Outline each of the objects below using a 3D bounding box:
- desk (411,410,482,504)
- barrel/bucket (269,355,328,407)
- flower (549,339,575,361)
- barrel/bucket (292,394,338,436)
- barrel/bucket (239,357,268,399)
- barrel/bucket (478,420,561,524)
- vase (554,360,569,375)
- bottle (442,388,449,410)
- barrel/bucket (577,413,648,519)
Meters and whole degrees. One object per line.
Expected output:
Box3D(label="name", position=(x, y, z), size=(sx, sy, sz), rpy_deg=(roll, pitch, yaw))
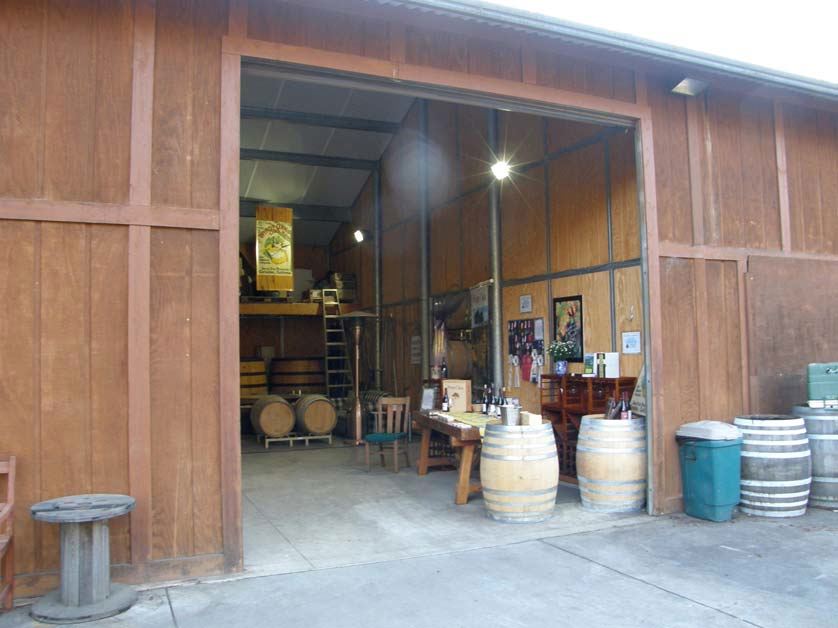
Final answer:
Box3D(label="desk", position=(0.345, 1.567, 8.285), size=(0.718, 0.834, 2.048), rpy_deg=(-1, 1, -3))
Box3D(label="barrel/bucket", position=(-2.385, 1.317, 14.321), size=(0.868, 0.834, 0.890), rpy_deg=(-1, -7, 0))
Box3D(label="flower", position=(1.771, 0.451, 8.753), size=(0.277, 0.230, 0.347), rpy_deg=(0, 1, 31))
Box3D(label="barrel/bucket", position=(-1.676, 1.632, 11.762), size=(0.604, 0.641, 0.861), rpy_deg=(9, -7, -15))
Box3D(label="barrel/bucket", position=(-3.208, 1.260, 13.898), size=(0.608, 0.632, 0.613), rpy_deg=(-1, -2, 0))
Box3D(label="barrel/bucket", position=(0.894, 1.517, 6.965), size=(0.815, 0.871, 0.847), rpy_deg=(-1, -2, 0))
Box3D(label="vase", position=(1.712, 0.638, 8.612), size=(0.135, 0.187, 0.185), rpy_deg=(-2, 4, 6))
Box3D(label="bottle", position=(0.341, 1.062, 8.843), size=(0.082, 0.249, 0.130), rpy_deg=(-1, 1, 2))
Box3D(label="barrel/bucket", position=(1.868, 1.474, 6.929), size=(0.788, 0.896, 0.814), rpy_deg=(0, -3, 0))
